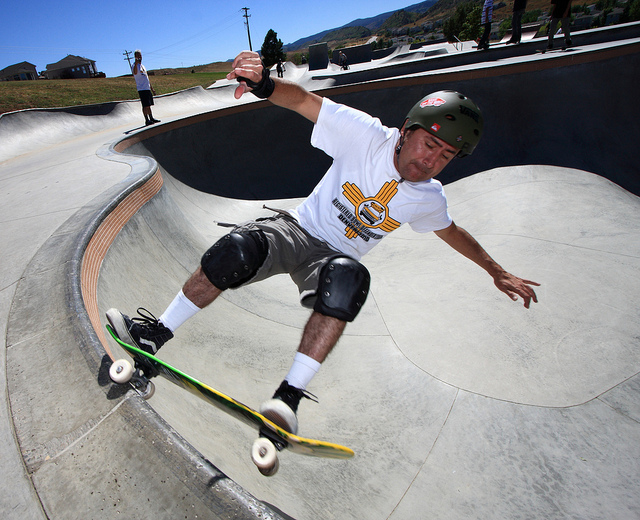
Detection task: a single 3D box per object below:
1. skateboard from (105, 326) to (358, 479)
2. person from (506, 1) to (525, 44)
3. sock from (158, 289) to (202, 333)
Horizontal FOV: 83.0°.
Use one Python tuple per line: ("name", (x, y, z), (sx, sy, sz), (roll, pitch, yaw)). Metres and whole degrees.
("skateboard", (-0.568, 0.951, 2.403), (1.726, 0.468, 0.293), (22, 54, 15))
("person", (5.843, -7.035, 10.812), (0.371, 1.040, 2.396), (14, 35, 21))
("sock", (-0.962, 0.350, 2.588), (0.336, 0.193, 0.159), (-34, 8, 8))
